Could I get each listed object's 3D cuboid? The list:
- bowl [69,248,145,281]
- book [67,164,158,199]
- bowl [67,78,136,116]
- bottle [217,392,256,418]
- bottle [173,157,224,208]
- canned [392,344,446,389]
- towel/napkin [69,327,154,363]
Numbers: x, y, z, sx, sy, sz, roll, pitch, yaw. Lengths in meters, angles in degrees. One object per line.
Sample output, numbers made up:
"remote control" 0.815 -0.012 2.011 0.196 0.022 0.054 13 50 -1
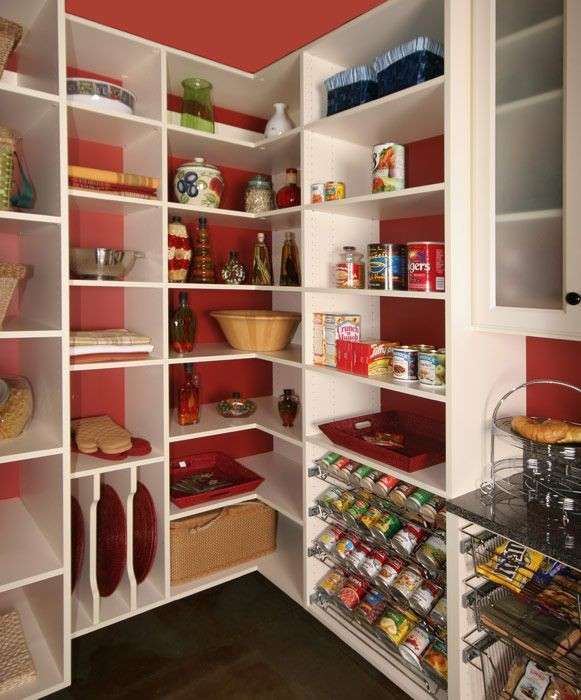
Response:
"bowl" -0.619 -0.286 1.897 0.135 0.103 0.233 7 10 32
"book" -0.583 -0.556 1.885 0.326 0.085 0.074 -6 12 -41
"bowl" -0.616 -0.794 1.856 0.173 0.061 0.164 1 8 0
"bottle" -0.227 0.214 2.320 0.124 0.071 0.120 1 -2 0
"bottle" -0.345 -0.617 2.213 0.207 0.228 0.199 1 3 -20
"canned" 0.362 0.046 1.603 0.127 0.070 0.121 1 5 -4
"towel/napkin" -0.666 -0.020 2.011 0.312 0.085 0.316 -5 11 -36
